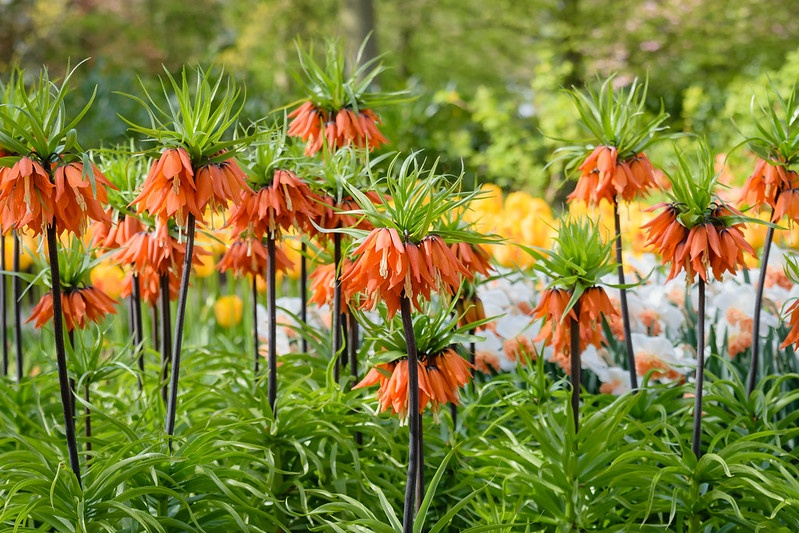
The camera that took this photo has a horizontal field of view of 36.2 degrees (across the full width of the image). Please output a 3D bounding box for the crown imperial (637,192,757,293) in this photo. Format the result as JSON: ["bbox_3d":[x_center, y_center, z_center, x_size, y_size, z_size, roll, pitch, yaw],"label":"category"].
[{"bbox_3d":[2.023,-0.147,8.461,0.613,0.474,0.621,11,-28,-5],"label":"crown imperial"}]

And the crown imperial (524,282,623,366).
[{"bbox_3d":[1.204,0.420,8.463,0.526,0.538,0.543,1,6,13],"label":"crown imperial"}]
